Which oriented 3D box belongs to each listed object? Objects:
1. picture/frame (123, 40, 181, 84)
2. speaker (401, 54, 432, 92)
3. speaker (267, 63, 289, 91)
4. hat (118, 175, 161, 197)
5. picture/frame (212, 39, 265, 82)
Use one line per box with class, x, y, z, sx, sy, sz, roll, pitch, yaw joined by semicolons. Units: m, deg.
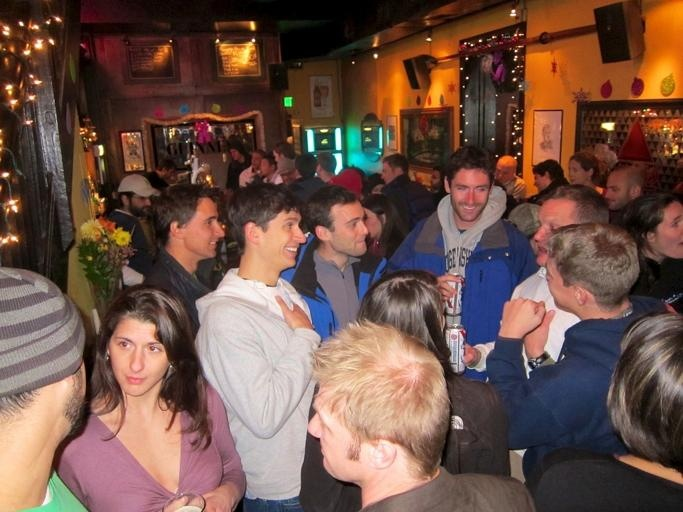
picture/frame;-3.540;-3.603;9.658;0.856;0.709;0.093;-4;0;-10
speaker;1.438;-3.384;9.621;0.593;0.721;0.569;-4;14;-11
speaker;-1.198;-3.329;9.877;0.437;0.632;0.440;1;3;-9
hat;-2.181;-0.760;5.587;0.370;0.205;0.272;2;12;8
picture/frame;-2.022;-3.825;10.106;0.924;0.784;0.086;-1;8;-3
